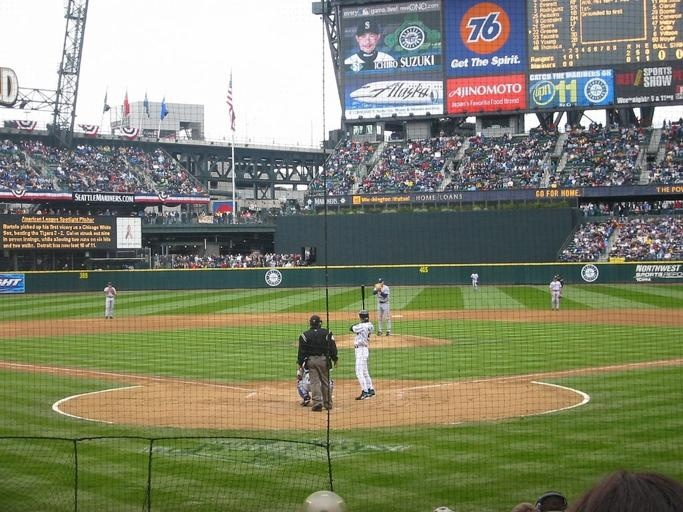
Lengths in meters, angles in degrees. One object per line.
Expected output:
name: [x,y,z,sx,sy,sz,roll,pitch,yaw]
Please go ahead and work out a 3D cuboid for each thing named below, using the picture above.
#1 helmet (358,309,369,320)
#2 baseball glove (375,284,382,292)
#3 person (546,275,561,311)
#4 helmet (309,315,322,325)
helmet: [0.943,2.554,54.799,0.314,0.432,0.398,3,10,1]
baseball glove: [1.771,1.605,63.504,0.472,0.369,0.179,2,2,43]
person: [11.347,2.056,69.983,0.479,1.792,1.027,0,2,13]
helmet: [-1.038,2.685,53.562,0.411,0.444,0.359,-5,9,-19]
